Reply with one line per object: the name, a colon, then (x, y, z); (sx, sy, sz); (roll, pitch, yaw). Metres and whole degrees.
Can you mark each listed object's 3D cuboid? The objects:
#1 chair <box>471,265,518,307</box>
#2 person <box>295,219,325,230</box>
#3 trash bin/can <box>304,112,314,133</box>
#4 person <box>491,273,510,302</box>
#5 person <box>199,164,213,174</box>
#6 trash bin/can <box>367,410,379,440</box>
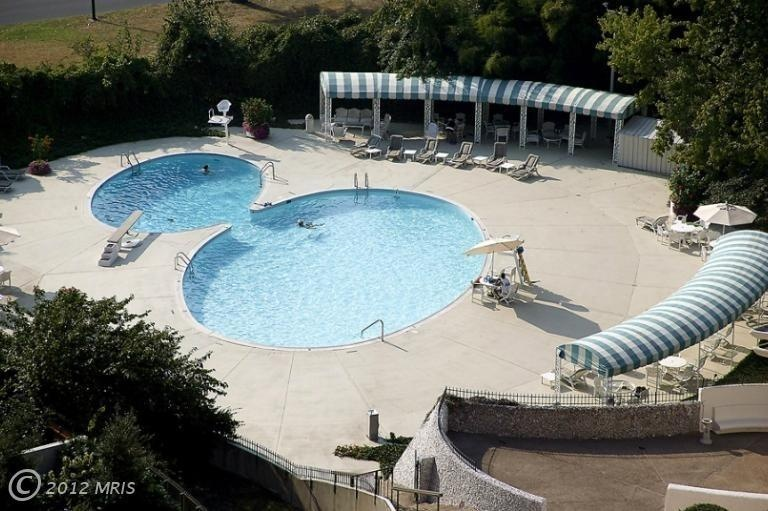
chair: (5.043, 1.496, 30.661); (1.834, 1.071, 1.758); (5, 28, 15)
person: (-4.152, -1.681, 36.926); (1.557, 0.294, 0.943); (5, 18, 11)
trash bin/can: (-5.503, -9.697, 49.343); (0.619, 1.235, 1.649); (-1, 18, -6)
person: (5.289, 1.466, 30.512); (0.938, 1.090, 1.112); (-2, 22, -3)
person: (-11.536, -5.528, 43.380); (0.652, 0.421, 0.994); (-14, 18, -1)
trash bin/can: (-0.360, 5.875, 23.413); (0.402, 0.958, 0.929); (1, 19, -1)
